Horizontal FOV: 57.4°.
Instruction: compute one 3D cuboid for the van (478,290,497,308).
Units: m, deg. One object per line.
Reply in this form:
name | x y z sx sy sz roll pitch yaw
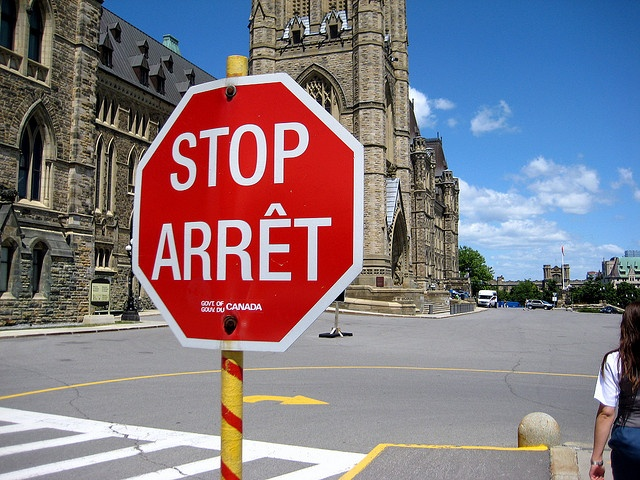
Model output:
van | 26.413 9.309 92.894 2.422 2.196 4.089 -3 -10 30
